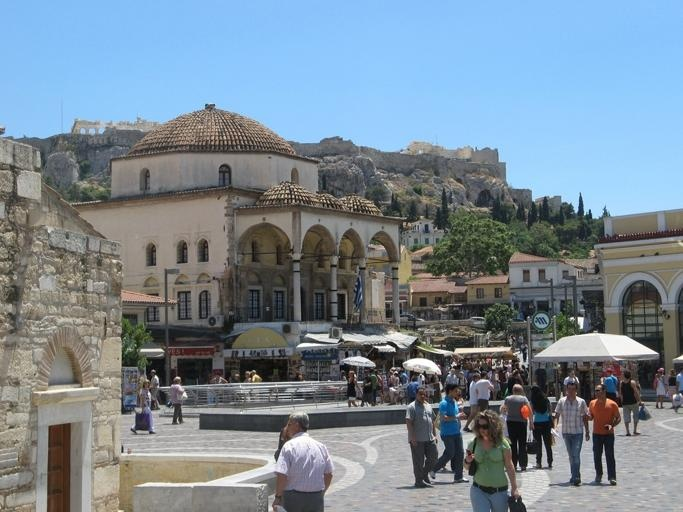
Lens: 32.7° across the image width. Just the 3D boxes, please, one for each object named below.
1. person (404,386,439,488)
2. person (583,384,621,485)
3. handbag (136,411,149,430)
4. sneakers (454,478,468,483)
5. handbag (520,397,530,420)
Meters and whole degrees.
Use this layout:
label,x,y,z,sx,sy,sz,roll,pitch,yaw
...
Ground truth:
label,x,y,z,sx,sy,sz,roll,pitch,yaw
person,1.541,3.484,22.482,0.501,1.915,0.884,-4,-6,28
person,5.118,3.442,22.592,0.563,1.906,1.487,-2,-6,13
handbag,-5.484,4.515,31.752,0.349,0.473,0.438,1,-6,-19
sneakers,2.345,4.421,22.804,0.236,0.112,0.104,-3,1,1
handbag,3.693,3.129,23.317,0.206,0.196,0.312,3,-38,-5
